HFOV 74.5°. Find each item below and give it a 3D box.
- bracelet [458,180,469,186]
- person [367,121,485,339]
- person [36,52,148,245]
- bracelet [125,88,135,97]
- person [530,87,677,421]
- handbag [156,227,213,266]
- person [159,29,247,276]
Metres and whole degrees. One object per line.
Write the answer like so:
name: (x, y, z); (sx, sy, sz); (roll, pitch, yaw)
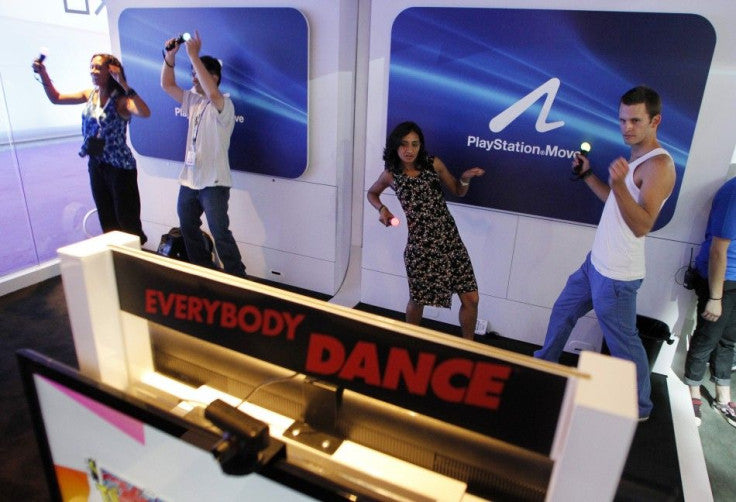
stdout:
bracelet: (0.716, -0.511, 3.551); (0.044, 0.036, 0.045); (-4, 16, -9)
person: (0.433, -0.118, 3.569); (0.902, 1.587, 0.553); (9, 25, 15)
person: (-2.385, -0.862, 4.449); (0.864, 1.806, 0.466); (19, 29, 32)
bracelet: (-2.031, -1.374, 4.160); (0.066, 0.028, 0.065); (47, 35, 13)
person: (1.580, 0.068, 2.963); (0.509, 1.955, 0.743); (-20, 32, -41)
handbag: (-1.515, -0.042, 4.082); (0.235, 0.372, 0.351); (1, 17, 7)
person: (-1.379, -0.762, 4.192); (0.539, 2.051, 1.004); (-16, 30, -36)
